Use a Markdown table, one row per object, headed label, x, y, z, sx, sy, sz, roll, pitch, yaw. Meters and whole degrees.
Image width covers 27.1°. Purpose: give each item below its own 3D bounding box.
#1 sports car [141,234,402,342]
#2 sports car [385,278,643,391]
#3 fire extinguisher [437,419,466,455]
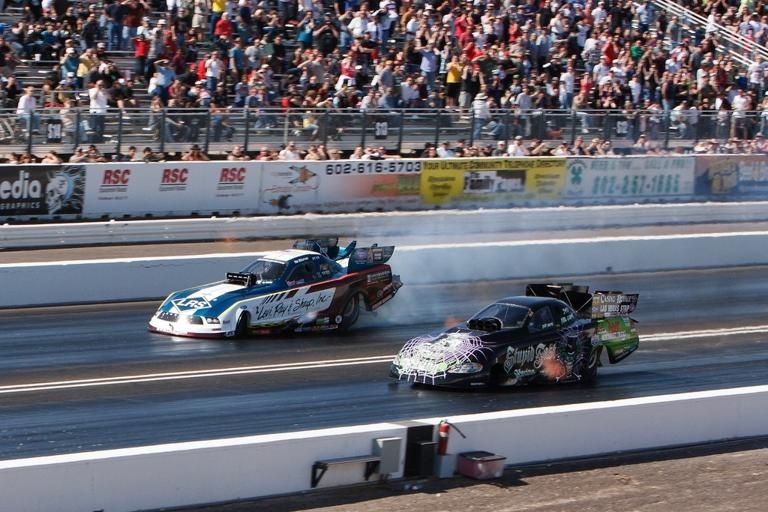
| label | x | y | z | sx | sy | sz | roll | pitch | yaw |
| --- | --- | --- | --- | --- | --- | --- | --- | --- | --- |
| sports car | -2.334 | 0.806 | 35.636 | 5.175 | 1.876 | 1.196 | -3 | 8 | -31 |
| sports car | 2.865 | 1.791 | 33.509 | 4.931 | 1.860 | 1.405 | -3 | 7 | -29 |
| fire extinguisher | 1.191 | 3.417 | 29.648 | 0.534 | 0.647 | 0.234 | -4 | 9 | -34 |
